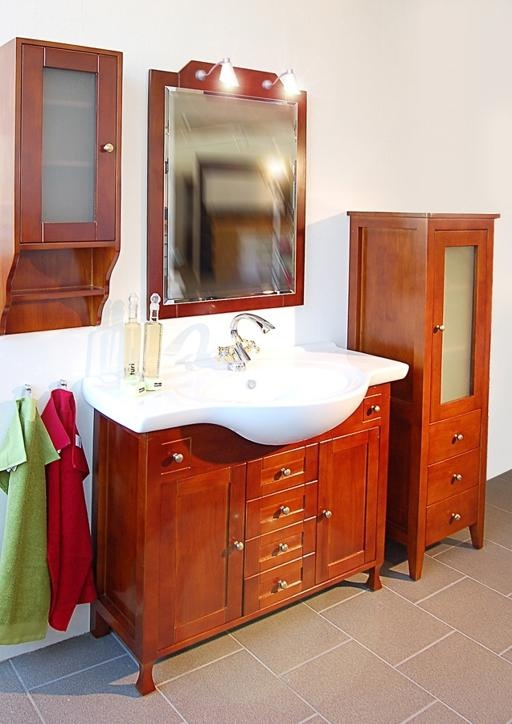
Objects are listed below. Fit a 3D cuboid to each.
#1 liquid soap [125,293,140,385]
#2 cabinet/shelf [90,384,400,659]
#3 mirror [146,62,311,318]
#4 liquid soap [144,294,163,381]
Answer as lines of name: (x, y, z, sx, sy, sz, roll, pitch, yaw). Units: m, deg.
liquid soap: (-0.356, -0.076, 1.693, 0.044, 0.228, 0.239, 0, 5, -12)
cabinet/shelf: (-0.059, 0.458, 1.683, 0.632, 0.585, 0.252, -9, 13, -37)
mirror: (-0.106, -0.578, 1.911, 0.714, 1.017, 0.140, -11, 22, -39)
liquid soap: (-0.304, -0.075, 1.723, 0.049, 0.247, 0.239, 0, 5, -9)
